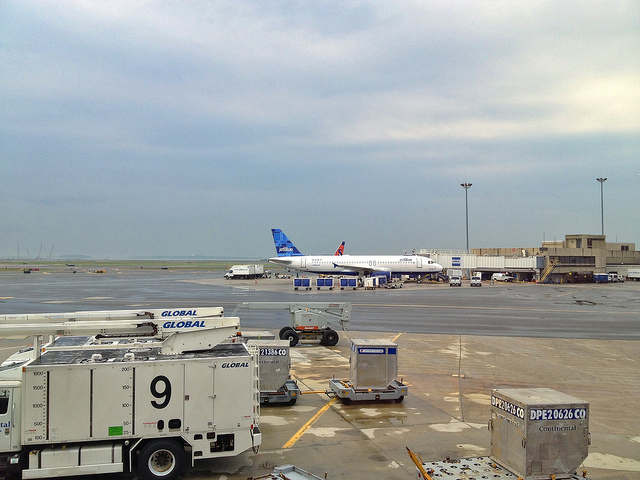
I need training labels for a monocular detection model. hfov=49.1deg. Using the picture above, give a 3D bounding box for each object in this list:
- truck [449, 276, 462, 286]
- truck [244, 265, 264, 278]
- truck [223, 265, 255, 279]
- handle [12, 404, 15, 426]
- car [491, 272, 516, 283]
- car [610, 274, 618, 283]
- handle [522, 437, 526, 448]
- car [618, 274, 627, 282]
[{"bbox_3d":[20.473,6.153,106.154,1.429,1.084,2.287,-2,-8,8],"label":"truck"},{"bbox_3d":[-12.066,5.845,132.427,1.818,2.448,2.592,-1,1,13],"label":"truck"},{"bbox_3d":[-14.597,5.782,129.701,6.177,2.844,2.300,1,0,-7],"label":"truck"},{"bbox_3d":[-10.133,5.799,23.278,0.055,0.650,0.065,-2,-2,-4],"label":"handle"},{"bbox_3d":[32.948,6.718,127.437,3.480,1.814,2.306,-2,1,15],"label":"car"},{"bbox_3d":[53.281,6.814,127.377,1.279,1.327,1.860,-2,-2,20],"label":"car"},{"bbox_3d":[6.444,6.403,22.190,0.024,0.316,0.128,0,-2,-33],"label":"handle"},{"bbox_3d":[56.443,6.878,131.717,1.837,1.641,3.156,-2,-7,26],"label":"car"}]
